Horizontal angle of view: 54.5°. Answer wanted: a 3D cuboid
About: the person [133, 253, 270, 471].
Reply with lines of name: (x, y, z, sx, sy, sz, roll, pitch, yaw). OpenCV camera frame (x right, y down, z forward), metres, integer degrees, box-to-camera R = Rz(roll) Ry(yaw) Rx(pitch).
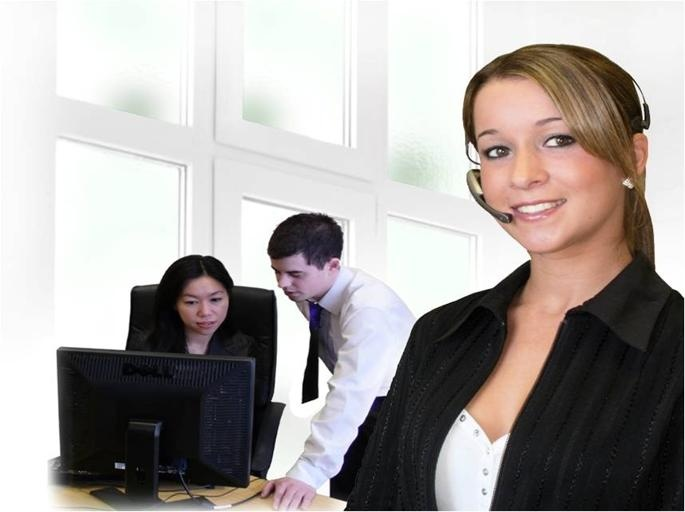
person: (-0.519, 0.462, 3.100, 0.689, 1.137, 0.766, -1, -14, 1)

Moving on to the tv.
tv: (-0.582, 0.497, 2.051, 0.616, 0.412, 0.130, -1, -7, 8)

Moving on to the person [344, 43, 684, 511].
person: (0.391, 0.067, 1.484, 0.647, 1.005, 0.278, -6, -9, 41)

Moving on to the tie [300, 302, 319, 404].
tie: (-0.141, 0.460, 3.146, 0.104, 0.420, 0.018, 0, -15, 4)
